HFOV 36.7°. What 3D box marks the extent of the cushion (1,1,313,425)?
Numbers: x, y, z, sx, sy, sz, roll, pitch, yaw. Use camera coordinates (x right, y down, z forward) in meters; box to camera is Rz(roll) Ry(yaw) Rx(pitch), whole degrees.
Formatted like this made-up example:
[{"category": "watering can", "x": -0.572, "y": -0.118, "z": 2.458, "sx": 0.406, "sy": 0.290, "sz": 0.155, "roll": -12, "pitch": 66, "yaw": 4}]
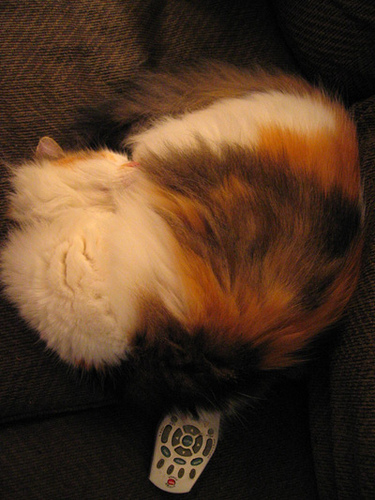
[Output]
[{"category": "cushion", "x": -0.204, "y": -0.340, "z": 1.753, "sx": 1.054, "sy": 0.238, "sz": 0.894, "roll": -7, "pitch": 76, "yaw": -19}]
